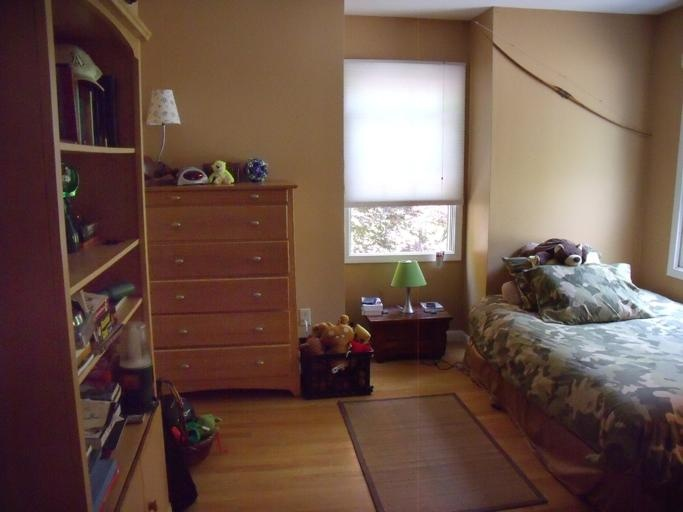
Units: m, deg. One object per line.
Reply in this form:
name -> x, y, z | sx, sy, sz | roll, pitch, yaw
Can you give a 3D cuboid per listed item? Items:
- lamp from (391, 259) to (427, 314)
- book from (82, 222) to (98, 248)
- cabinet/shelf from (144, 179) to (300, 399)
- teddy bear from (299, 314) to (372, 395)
lamp -> 0.519, 0.242, 4.265 | 0.253, 0.406, 0.257 | -6, 6, -31
book -> -0.964, -0.084, 2.103 | 0.076, 0.093, 0.074 | 0, 0, 1
cabinet/shelf -> -0.805, 0.195, 3.660 | 0.992, 1.415, 0.536 | -2, 14, -10
teddy bear -> -0.057, 0.680, 3.744 | 0.354, 0.268, 0.516 | -1, 4, -5
